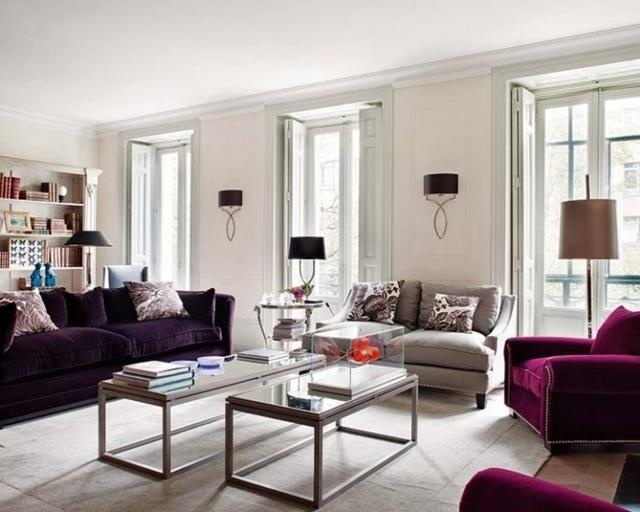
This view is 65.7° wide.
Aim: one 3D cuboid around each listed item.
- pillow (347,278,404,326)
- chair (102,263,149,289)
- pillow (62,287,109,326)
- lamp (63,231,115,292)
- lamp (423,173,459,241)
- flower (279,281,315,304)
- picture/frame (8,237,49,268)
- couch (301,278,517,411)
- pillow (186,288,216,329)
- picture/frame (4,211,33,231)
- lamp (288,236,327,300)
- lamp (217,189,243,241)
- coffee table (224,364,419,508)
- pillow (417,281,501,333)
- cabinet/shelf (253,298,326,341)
[{"bbox_3d":[0.633,0.510,5.362,0.670,0.580,0.189,-9,-34,37],"label":"pillow"},{"bbox_3d":[-2.382,0.241,6.180,0.418,0.468,0.432,3,-5,-43],"label":"chair"},{"bbox_3d":[-2.272,0.513,4.801,0.456,0.374,0.161,0,12,-21],"label":"pillow"},{"bbox_3d":[-3.247,0.094,6.968,0.767,0.847,0.710,-1,-6,-25],"label":"lamp"},{"bbox_3d":[1.339,-0.554,5.508,0.398,0.733,0.262,1,2,17],"label":"lamp"},{"bbox_3d":[-0.274,0.437,5.847,0.288,0.173,0.387,-5,-4,24],"label":"flower"},{"bbox_3d":[-4.265,-0.030,7.223,0.137,0.427,0.563,1,2,25],"label":"picture/frame"},{"bbox_3d":[0.913,0.811,5.068,1.914,0.957,1.109,0,4,34],"label":"couch"},{"bbox_3d":[-1.269,0.579,5.300,0.468,0.327,0.159,-2,0,32],"label":"pillow"},{"bbox_3d":[-4.341,-0.501,7.092,0.037,0.269,0.348,-15,-8,28],"label":"picture/frame"},{"bbox_3d":[-0.150,0.152,5.914,0.548,0.727,0.504,4,-7,-12],"label":"lamp"},{"bbox_3d":[-1.300,-0.573,6.971,0.455,0.742,0.241,2,2,36],"label":"lamp"},{"bbox_3d":[-0.101,0.984,2.974,0.690,0.478,1.248,0,1,32],"label":"coffee table"},{"bbox_3d":[1.388,0.526,4.914,0.550,0.311,0.186,2,-5,31],"label":"pillow"},{"bbox_3d":[-0.403,0.798,5.937,0.831,0.515,0.715,-4,2,-20],"label":"cabinet/shelf"}]
